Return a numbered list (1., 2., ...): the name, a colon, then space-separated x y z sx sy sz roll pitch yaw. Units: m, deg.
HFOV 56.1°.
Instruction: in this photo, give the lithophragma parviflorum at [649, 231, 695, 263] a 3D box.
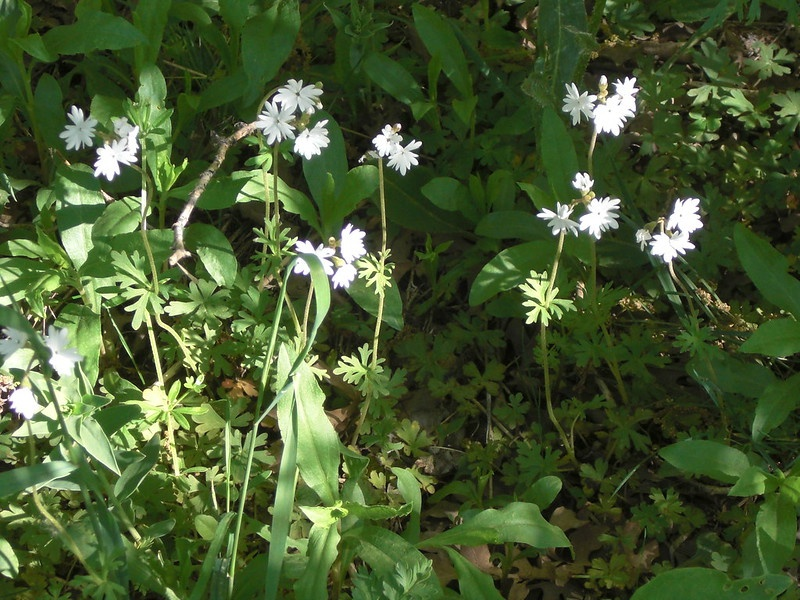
1. lithophragma parviflorum: 1.031 -0.207 2.885 0.140 0.071 0.168 10 98 0
